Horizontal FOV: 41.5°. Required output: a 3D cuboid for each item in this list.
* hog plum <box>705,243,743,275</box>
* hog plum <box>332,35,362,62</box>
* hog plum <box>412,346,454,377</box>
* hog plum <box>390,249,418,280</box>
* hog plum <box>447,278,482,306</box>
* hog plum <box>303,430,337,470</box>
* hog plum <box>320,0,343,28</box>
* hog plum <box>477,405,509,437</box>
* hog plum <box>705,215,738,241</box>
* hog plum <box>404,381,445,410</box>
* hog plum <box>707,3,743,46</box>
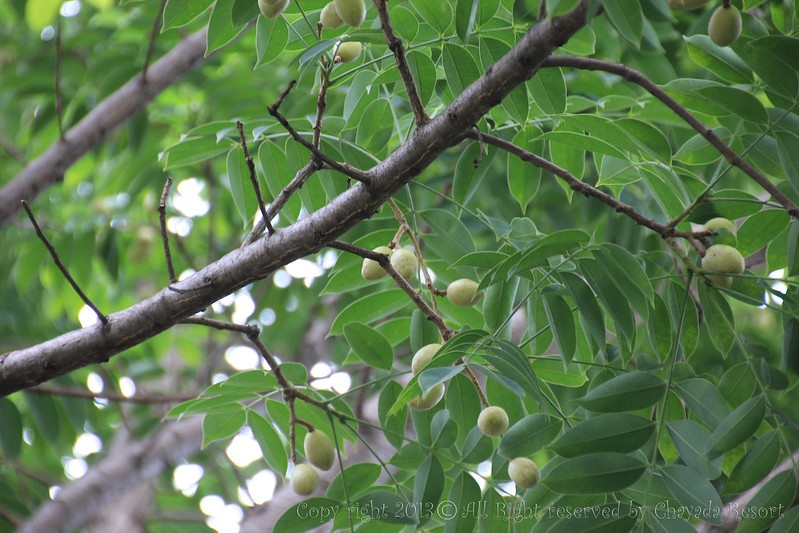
[{"bbox_3d":[1.305,-0.024,4.276,0.133,0.114,0.084,22,-31,42],"label":"hog plum"},{"bbox_3d":[-0.217,-0.901,4.418,0.086,0.111,0.094,-16,-86,60],"label":"hog plum"},{"bbox_3d":[0.124,0.376,4.324,0.077,0.131,0.100,37,-19,25],"label":"hog plum"},{"bbox_3d":[0.006,0.006,4.559,0.107,0.149,0.116,-5,-6,-24],"label":"hog plum"},{"bbox_3d":[0.275,0.117,4.474,0.119,0.105,0.103,1,-40,1],"label":"hog plum"},{"bbox_3d":[-0.362,0.793,4.492,0.164,0.146,0.129,9,-10,-26],"label":"hog plum"},{"bbox_3d":[-0.289,-1.029,4.367,0.083,0.104,0.075,51,-13,-30],"label":"hog plum"},{"bbox_3d":[0.377,0.639,4.318,0.105,0.146,0.116,-3,-9,11],"label":"hog plum"},{"bbox_3d":[1.330,-0.166,4.383,0.104,0.092,0.070,7,-63,32],"label":"hog plum"},{"bbox_3d":[0.108,0.549,4.354,0.139,0.073,0.135,-6,-56,10],"label":"hog plum"},{"bbox_3d":[1.300,-0.961,4.280,0.108,0.122,0.173,1,-67,-21],"label":"hog plum"}]
